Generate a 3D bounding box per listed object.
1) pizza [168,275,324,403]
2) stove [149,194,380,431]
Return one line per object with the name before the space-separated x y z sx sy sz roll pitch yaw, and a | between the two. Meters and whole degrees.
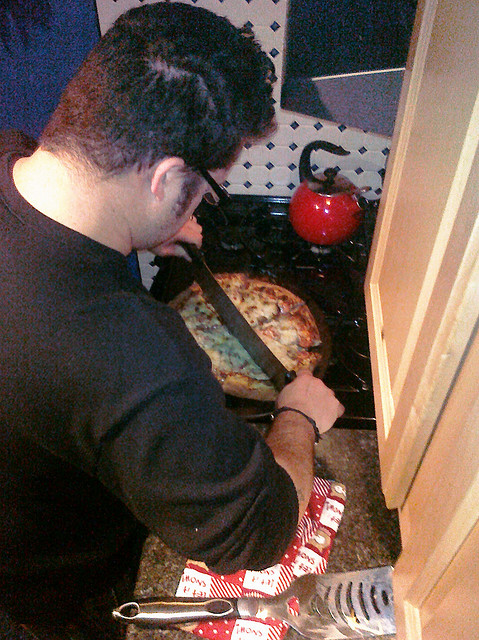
pizza | 0.068 0.042 1.371 0.377 0.450 0.062 9 41 31
stove | 0.118 0.046 1.651 0.668 0.566 0.775 -2 41 -9
